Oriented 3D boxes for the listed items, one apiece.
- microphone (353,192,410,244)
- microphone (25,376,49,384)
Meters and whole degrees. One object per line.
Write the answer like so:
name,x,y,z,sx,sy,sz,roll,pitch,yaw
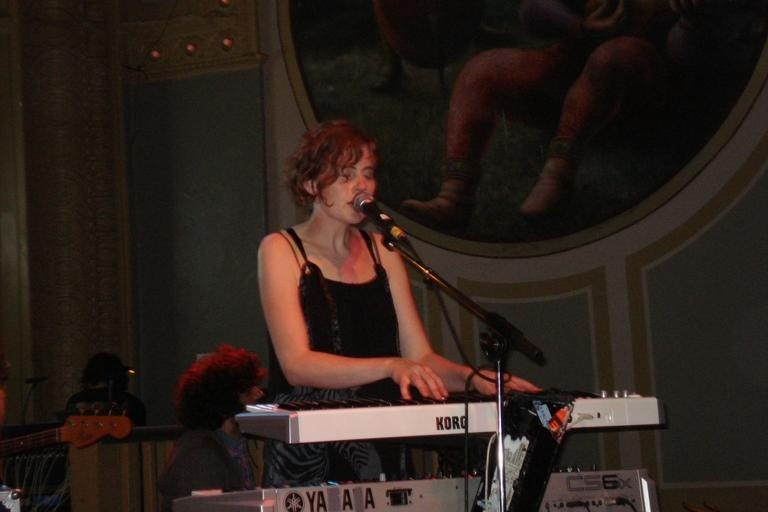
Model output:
microphone,-0.047,-0.235,5.199,0.133,0.158,0.492,-22,40,-23
microphone,-3.111,1.092,8.264,0.143,0.045,0.047,-2,-26,-16
